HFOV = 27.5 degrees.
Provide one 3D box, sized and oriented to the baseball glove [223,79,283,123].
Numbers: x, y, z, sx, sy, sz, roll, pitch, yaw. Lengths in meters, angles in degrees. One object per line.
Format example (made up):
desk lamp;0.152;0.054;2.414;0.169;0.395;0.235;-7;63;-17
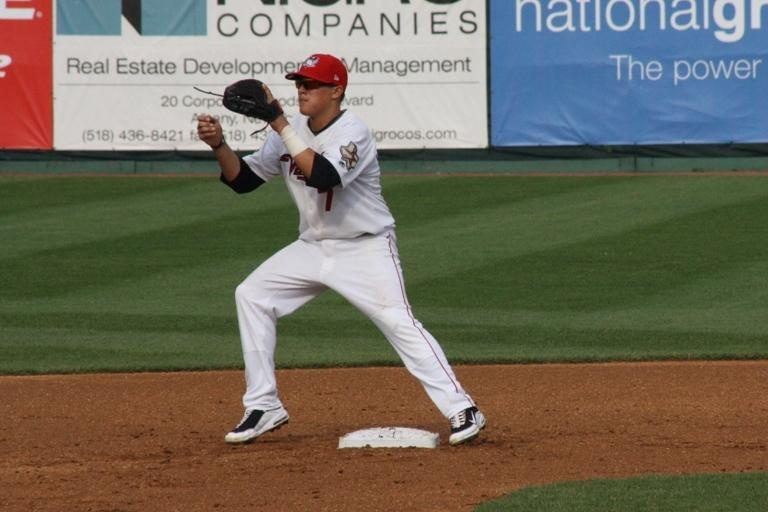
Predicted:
baseball glove;-1.639;-1.827;18.384;0.581;0.311;0.748;0;-10;-3

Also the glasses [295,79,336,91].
glasses;-0.813;-1.992;18.261;0.291;0.082;0.182;4;3;-24

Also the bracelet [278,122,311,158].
bracelet;-1.046;-1.314;18.107;0.252;0.407;0.175;-37;-9;0
